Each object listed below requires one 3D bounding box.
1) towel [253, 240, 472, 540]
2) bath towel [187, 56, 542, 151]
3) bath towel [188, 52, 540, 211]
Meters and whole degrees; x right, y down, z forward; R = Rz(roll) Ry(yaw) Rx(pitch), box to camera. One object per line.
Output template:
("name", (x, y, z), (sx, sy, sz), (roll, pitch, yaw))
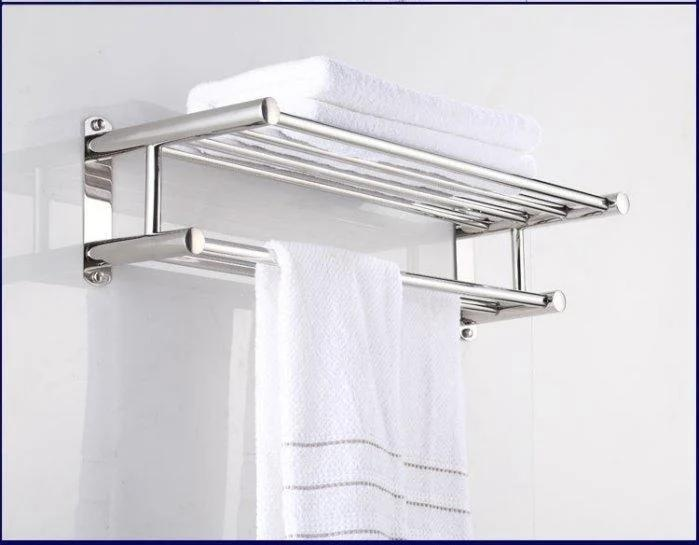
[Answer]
("towel", (0.010, 0.159, 1.837), (0.353, 0.398, 0.059), (11, -22, -36))
("bath towel", (0.003, -0.210, 1.866), (0.261, 0.035, 0.154), (11, -16, -39))
("bath towel", (0.053, -0.197, 1.866), (0.293, 0.062, 0.208), (11, -15, -39))
